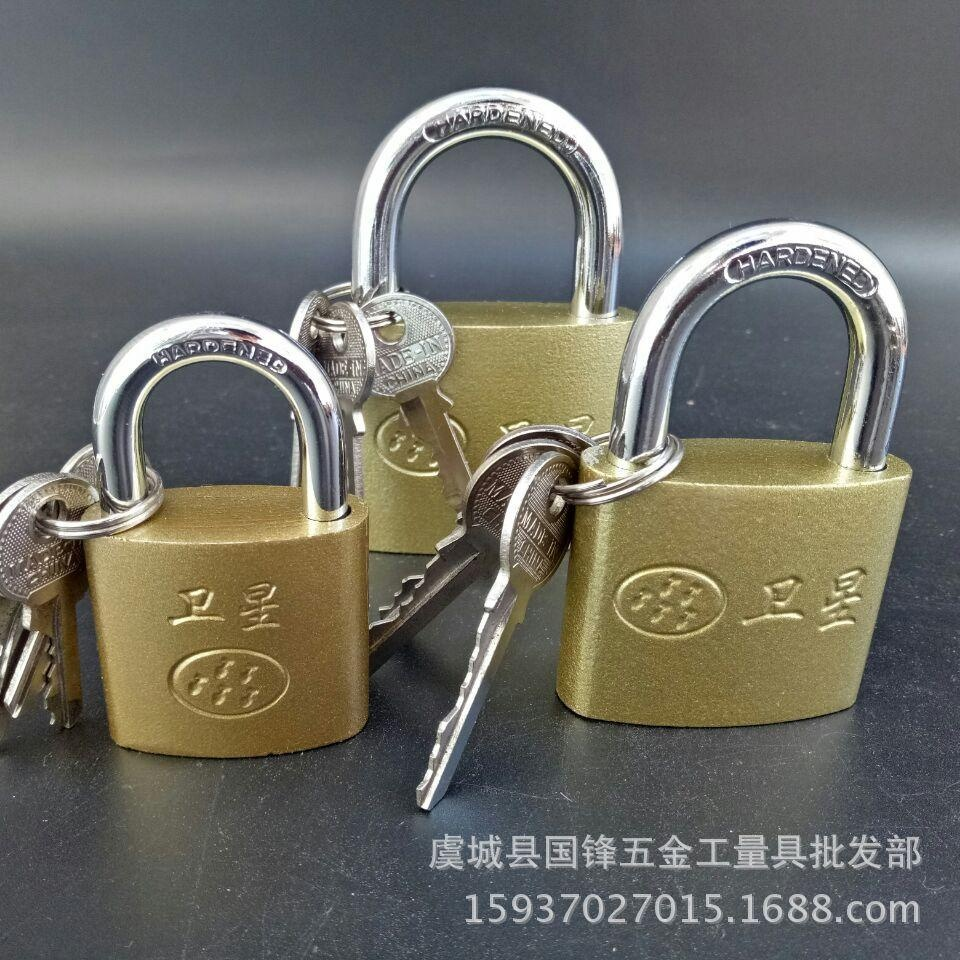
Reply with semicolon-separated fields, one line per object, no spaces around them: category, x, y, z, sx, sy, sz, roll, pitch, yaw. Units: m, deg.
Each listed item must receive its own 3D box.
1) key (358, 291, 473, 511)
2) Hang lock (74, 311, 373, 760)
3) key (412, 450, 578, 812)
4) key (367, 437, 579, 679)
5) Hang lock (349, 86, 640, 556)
key;-0.081;-0.130;1.441;0.144;0.359;0.025;-23;36;5
Hang lock;-0.272;0.063;1.045;0.303;0.469;0.185;-7;27;-7
key;0.005;0.123;1.067;0.023;0.112;0.452;6;67;60
key;-0.047;0.087;1.195;0.390;0.155;0.014;-48;31;4
Hang lock;0.007;-0.233;1.573;0.490;0.734;0.192;3;27;-1
